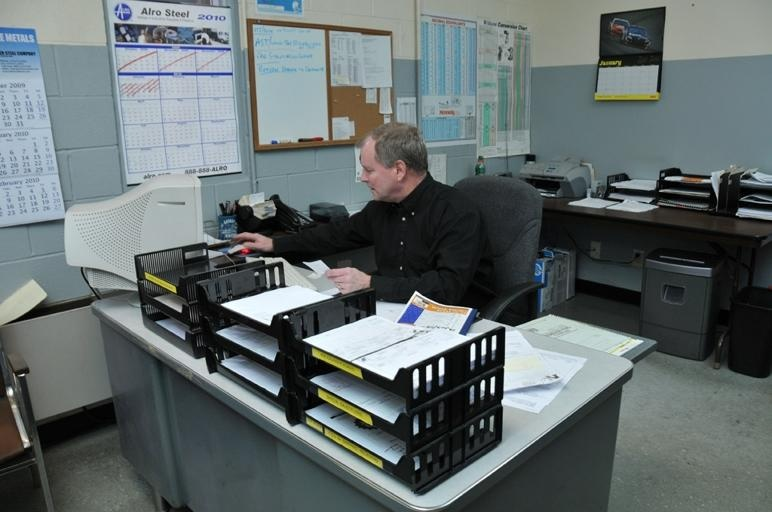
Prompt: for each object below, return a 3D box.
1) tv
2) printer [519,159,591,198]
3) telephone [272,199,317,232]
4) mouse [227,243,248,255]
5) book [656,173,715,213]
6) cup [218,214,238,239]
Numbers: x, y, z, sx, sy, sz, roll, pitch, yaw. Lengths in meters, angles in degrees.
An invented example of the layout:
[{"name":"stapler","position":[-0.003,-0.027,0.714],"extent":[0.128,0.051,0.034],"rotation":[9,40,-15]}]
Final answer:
[{"name":"tv","position":[-1.080,-0.102,2.273],"extent":[0.639,0.636,0.371],"rotation":[-4,11,-25]},{"name":"printer","position":[1.362,-0.641,4.357],"extent":[0.389,0.298,0.504],"rotation":[-12,16,-27]},{"name":"telephone","position":[-0.531,-0.223,3.087],"extent":[0.272,0.117,0.151],"rotation":[28,35,33]},{"name":"mouse","position":[-0.749,-0.037,2.694],"extent":[0.081,0.028,0.051],"rotation":[-14,27,-27]},{"name":"book","position":[2.072,-0.452,3.734],"extent":[0.276,0.274,0.373],"rotation":[-11,16,-39]},{"name":"cup","position":[-0.896,-0.173,3.042],"extent":[0.127,0.146,0.130],"rotation":[0,6,0]}]
